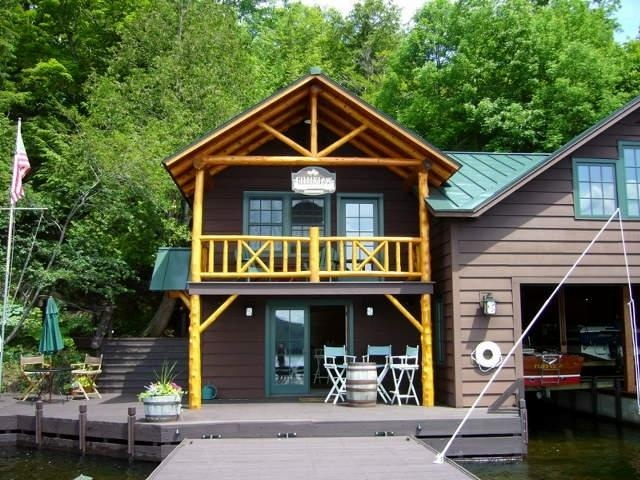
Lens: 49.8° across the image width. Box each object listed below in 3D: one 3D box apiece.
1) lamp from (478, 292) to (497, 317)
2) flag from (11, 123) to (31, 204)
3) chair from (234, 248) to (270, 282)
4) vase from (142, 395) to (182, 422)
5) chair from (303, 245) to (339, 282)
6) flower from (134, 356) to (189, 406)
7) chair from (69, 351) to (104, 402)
[{"bbox_3d":[4.113,1.567,16.735,0.428,0.550,0.287,1,-11,1],"label":"lamp"},{"bbox_3d":[-8.913,-2.370,20.588,0.431,2.703,1.273,6,-12,-24],"label":"flag"},{"bbox_3d":[-1.788,0.549,18.178,0.922,0.788,0.809,-2,-18,-5],"label":"chair"},{"bbox_3d":[-3.515,3.733,15.229,0.727,0.364,0.609,6,-26,-13],"label":"vase"},{"bbox_3d":[0.098,0.611,18.405,0.978,1.104,1.002,2,-6,-23],"label":"chair"},{"bbox_3d":[-3.570,3.400,15.662,1.102,1.147,1.157,-3,-9,28],"label":"flower"},{"bbox_3d":[-6.894,4.025,20.300,0.799,1.058,0.754,-3,-1,29],"label":"chair"}]
